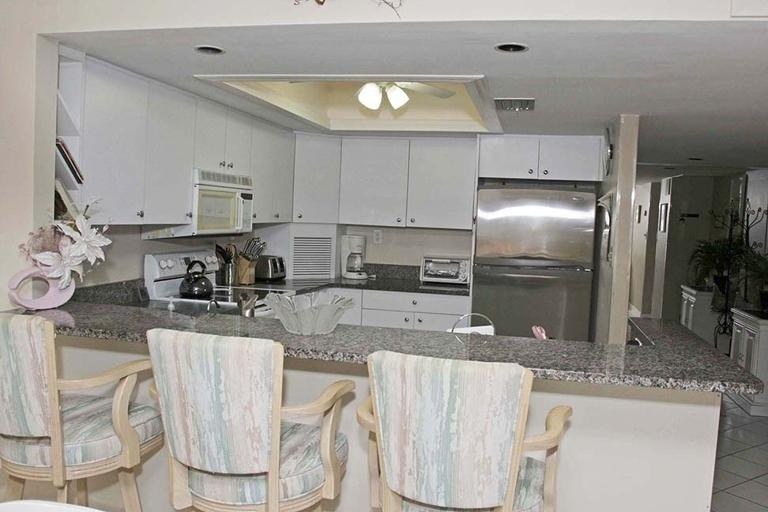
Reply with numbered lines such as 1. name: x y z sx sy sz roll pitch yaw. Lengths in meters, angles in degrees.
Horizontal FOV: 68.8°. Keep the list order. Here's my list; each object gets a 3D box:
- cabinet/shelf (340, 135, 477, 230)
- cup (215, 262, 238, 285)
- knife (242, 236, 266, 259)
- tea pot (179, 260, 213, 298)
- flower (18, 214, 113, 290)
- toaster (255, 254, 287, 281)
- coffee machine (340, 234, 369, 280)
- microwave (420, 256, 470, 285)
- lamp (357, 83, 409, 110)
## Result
1. cabinet/shelf: 0.243 -0.755 5.494 1.539 0.980 0.879 2 1 11
2. cup: -1.456 0.158 5.157 0.190 0.203 0.183 1 8 0
3. knife: -1.268 -0.073 5.429 0.153 0.065 0.268 19 22 -13
4. tea pot: -1.493 0.189 4.540 0.298 0.317 0.293 0 -2 0
5. flower: -1.854 -0.027 3.270 0.421 0.438 0.247 -1 4 -31
6. toaster: -1.118 0.130 5.535 0.231 0.235 0.329 0 -1 15
7. coffee machine: -0.309 0.009 5.807 0.274 0.444 0.238 -1 3 -15
8. microwave: 0.605 0.139 5.520 0.449 0.262 0.283 1 -3 16
9. lamp: -0.021 -1.248 4.467 0.367 0.328 0.130 -4 -2 -9
